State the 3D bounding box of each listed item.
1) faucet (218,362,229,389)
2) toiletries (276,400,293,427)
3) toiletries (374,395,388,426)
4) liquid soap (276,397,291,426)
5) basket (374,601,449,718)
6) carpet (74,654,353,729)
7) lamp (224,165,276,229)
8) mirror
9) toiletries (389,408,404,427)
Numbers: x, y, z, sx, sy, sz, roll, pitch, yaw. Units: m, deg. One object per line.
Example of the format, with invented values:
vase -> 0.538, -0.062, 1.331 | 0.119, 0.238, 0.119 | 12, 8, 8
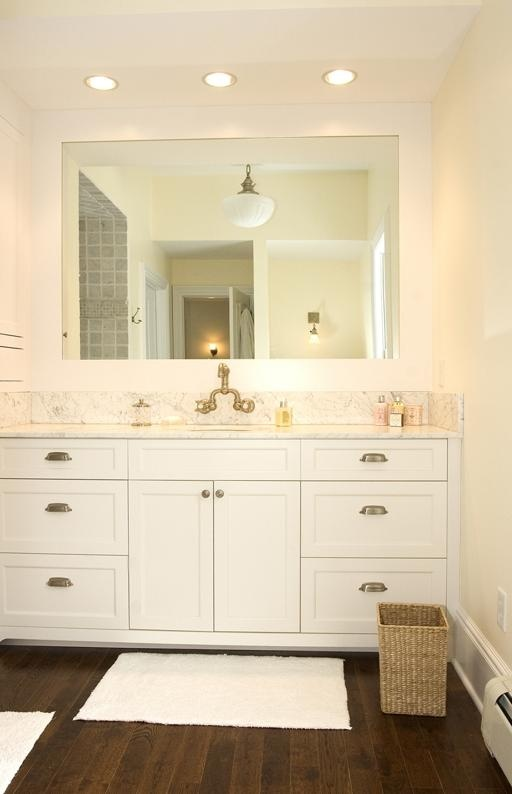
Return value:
faucet -> -0.139, -0.089, 2.692 | 0.040, 0.105, 0.091 | 0, 2, 0
toiletries -> 0.110, 0.075, 2.639 | 0.080, 0.161, 0.084 | 0, -1, 1
toiletries -> 0.508, 0.059, 2.610 | 0.054, 0.117, 0.034 | 0, 2, 6
liquid soap -> 0.100, 0.068, 2.640 | 0.078, 0.163, 0.085 | 0, -1, 0
basket -> 0.465, 0.759, 2.010 | 0.235, 0.330, 0.318 | 0, -2, 8
carpet -> -0.114, 0.929, 2.041 | 0.796, 0.016, 0.454 | 0, 2, 4
lamp -> -0.041, -0.912, 2.841 | 0.230, 0.353, 0.228 | -1, -2, -2
mirror -> -0.125, -0.642, 2.780 | 1.464, 0.943, 0.060 | 0, 2, 3
toiletries -> 0.558, 0.087, 2.573 | 0.056, 0.068, 0.070 | 0, 2, 11
